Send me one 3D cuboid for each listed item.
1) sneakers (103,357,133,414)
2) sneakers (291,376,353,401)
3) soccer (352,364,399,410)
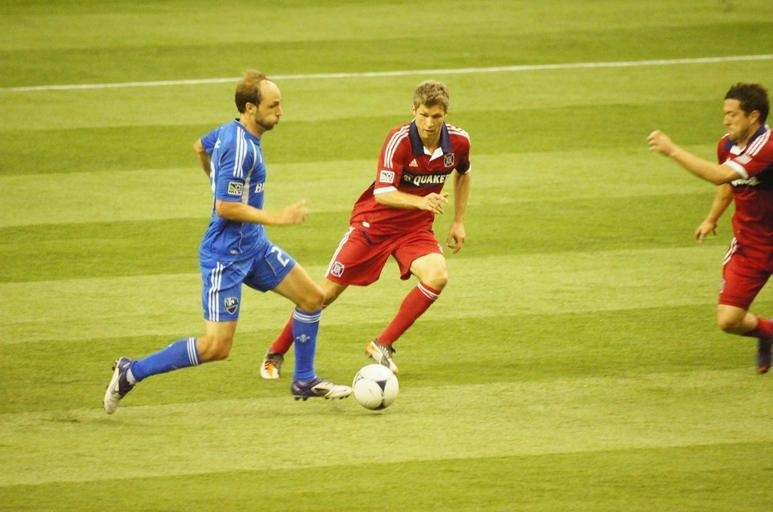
[{"bbox_3d":[-2.244,1.068,12.243,0.301,0.469,0.204,11,6,9],"label":"sneakers"},{"bbox_3d":[-0.581,1.137,12.498,0.578,0.187,0.182,-2,-4,-1],"label":"sneakers"},{"bbox_3d":[-0.086,1.129,12.419,0.456,0.348,0.383,1,24,-10],"label":"soccer"}]
